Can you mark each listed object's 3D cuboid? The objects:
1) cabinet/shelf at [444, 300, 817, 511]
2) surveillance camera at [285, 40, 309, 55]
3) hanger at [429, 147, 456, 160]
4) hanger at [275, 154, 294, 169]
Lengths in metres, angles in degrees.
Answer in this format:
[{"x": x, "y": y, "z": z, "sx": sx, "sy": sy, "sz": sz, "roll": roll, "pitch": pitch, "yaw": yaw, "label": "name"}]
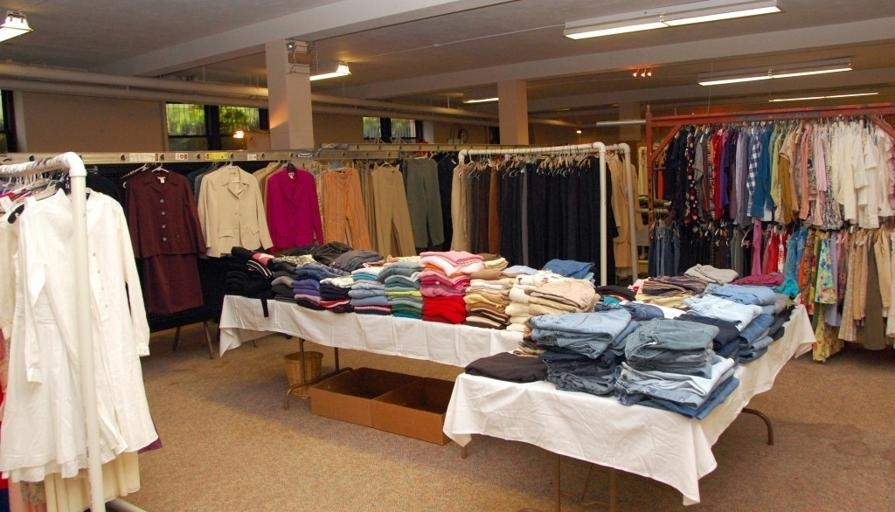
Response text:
[{"x": 0.987, "y": 0.942, "z": 4.266, "sx": 1.477, "sy": 0.419, "sz": 1.924, "roll": 0, "pitch": 11, "yaw": 38, "label": "cabinet/shelf"}, {"x": -2.234, "y": -3.091, "z": 8.901, "sx": 0.277, "sy": 0.090, "sz": 0.202, "roll": -6, "pitch": 10, "yaw": -32, "label": "surveillance camera"}, {"x": -0.079, "y": -1.545, "z": 9.050, "sx": 0.299, "sy": 0.114, "sz": 0.361, "roll": -2, "pitch": 1, "yaw": -15, "label": "hanger"}, {"x": -2.203, "y": -1.270, "z": 8.019, "sx": 0.267, "sy": 0.240, "sz": 0.070, "roll": -1, "pitch": -8, "yaw": 19, "label": "hanger"}]
